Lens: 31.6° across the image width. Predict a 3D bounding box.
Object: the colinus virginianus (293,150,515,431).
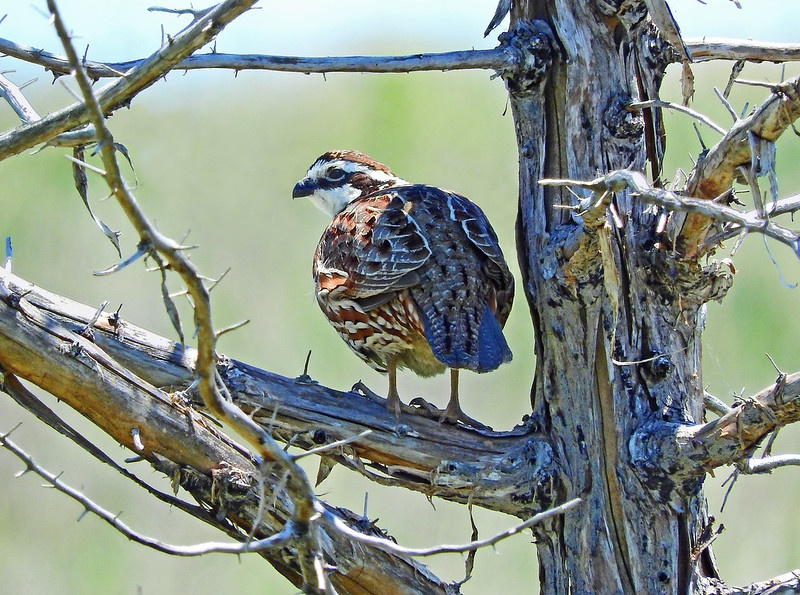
[{"bbox_3d":[0.074,0.012,8.515,1.199,1.765,0.852,-2,-56,5],"label":"colinus virginianus"}]
